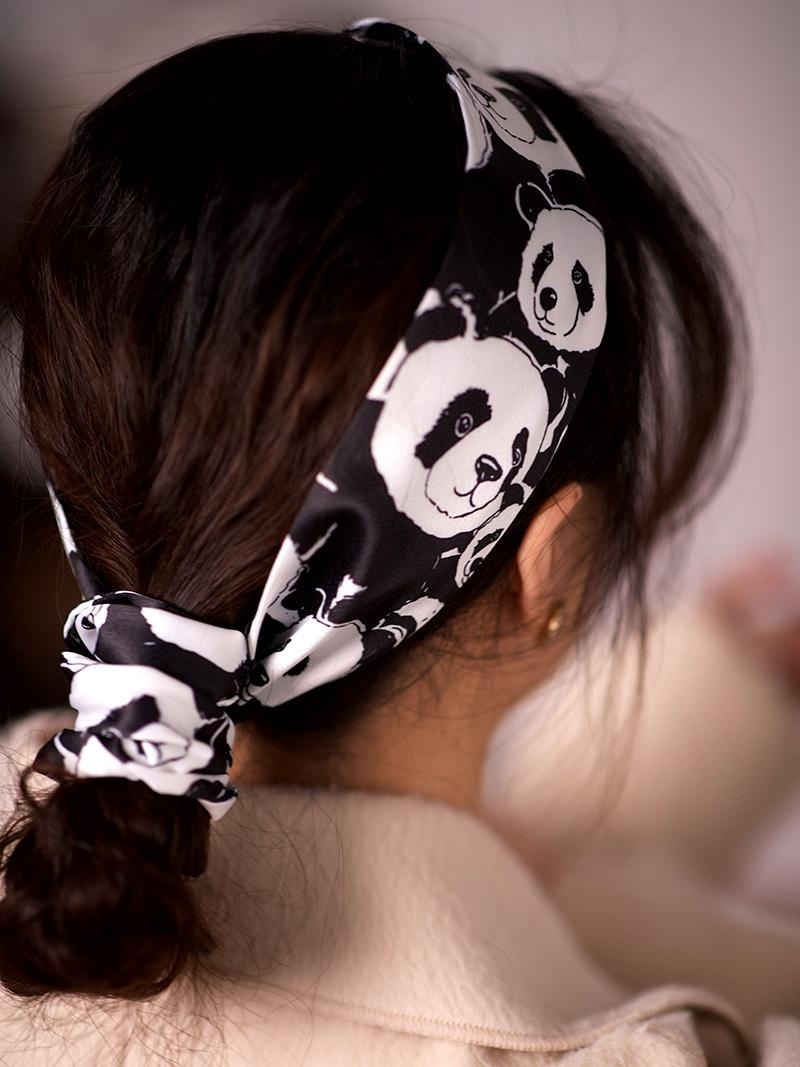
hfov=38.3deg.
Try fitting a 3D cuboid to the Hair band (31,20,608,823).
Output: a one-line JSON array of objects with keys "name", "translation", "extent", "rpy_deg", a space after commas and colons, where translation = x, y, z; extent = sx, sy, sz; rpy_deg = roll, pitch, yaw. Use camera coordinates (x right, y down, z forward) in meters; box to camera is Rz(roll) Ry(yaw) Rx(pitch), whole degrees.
[{"name": "Hair band", "translation": [-0.004, -0.049, 1.000], "extent": [0.437, 0.629, 0.246], "rpy_deg": [26, 3, -10]}]

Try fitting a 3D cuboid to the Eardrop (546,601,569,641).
[{"name": "Eardrop", "translation": [0.131, 0.077, 0.996], "extent": [0.027, 0.029, 0.013], "rpy_deg": [7, -3, -24]}]
